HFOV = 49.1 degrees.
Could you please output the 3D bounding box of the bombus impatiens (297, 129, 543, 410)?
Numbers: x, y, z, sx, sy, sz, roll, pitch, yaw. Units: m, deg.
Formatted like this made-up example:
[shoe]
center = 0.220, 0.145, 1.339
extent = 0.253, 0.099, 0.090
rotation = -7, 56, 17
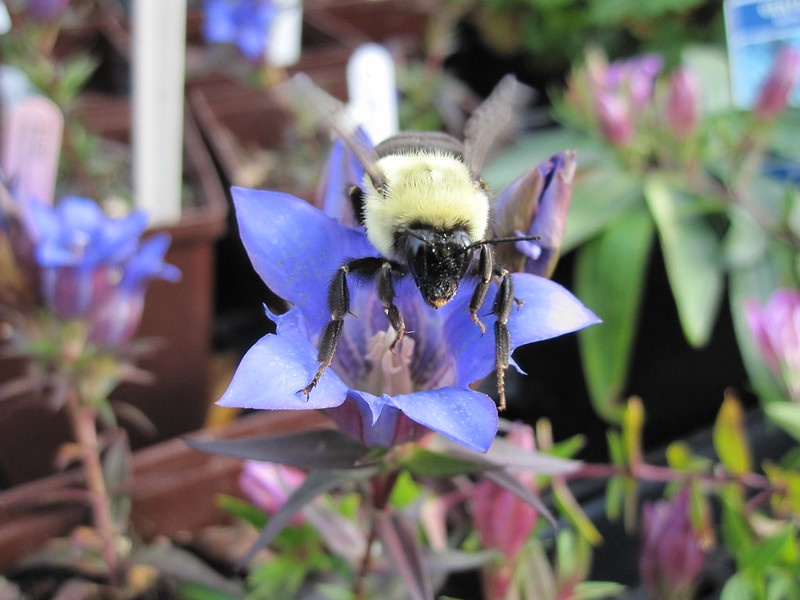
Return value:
[bombus impatiens]
center = 0.009, -0.010, 0.860
extent = 0.246, 0.163, 0.422
rotation = 12, -8, -3
